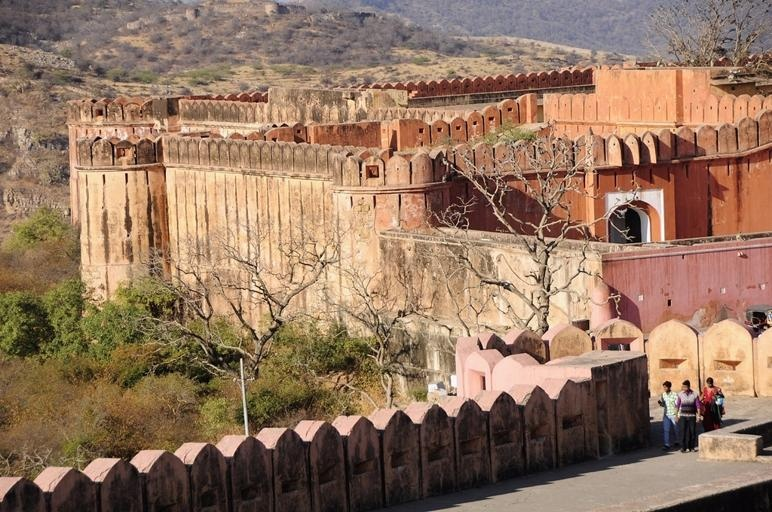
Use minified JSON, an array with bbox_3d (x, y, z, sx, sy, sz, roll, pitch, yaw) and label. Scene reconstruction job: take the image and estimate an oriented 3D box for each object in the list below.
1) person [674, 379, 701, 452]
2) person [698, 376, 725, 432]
[{"bbox_3d":[6.613,3.532,40.968,0.465,1.560,0.545,-4,0,6],"label":"person"},{"bbox_3d":[7.215,3.305,41.384,0.502,1.186,0.757,-4,0,11],"label":"person"}]
